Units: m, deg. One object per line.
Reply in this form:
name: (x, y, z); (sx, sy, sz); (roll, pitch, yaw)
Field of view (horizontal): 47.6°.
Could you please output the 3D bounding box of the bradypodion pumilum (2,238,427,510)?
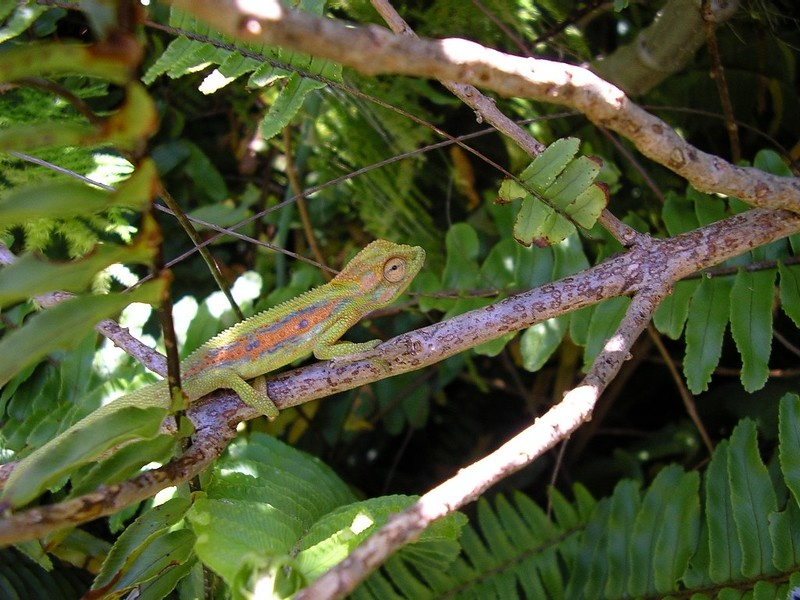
bradypodion pumilum: (-0.408, 0.112, 2.378); (1.067, 0.592, 0.430); (-8, -2, -25)
